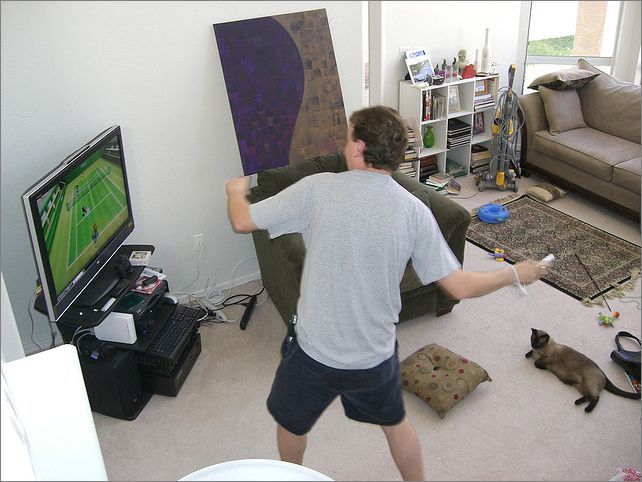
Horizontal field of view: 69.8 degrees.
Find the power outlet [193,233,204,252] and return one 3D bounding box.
[{"bbox_3d":[-0.962,0.011,3.601,0.089,0.138,0.090,-13,34,-28],"label":"power outlet"}]

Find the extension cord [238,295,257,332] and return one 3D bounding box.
[{"bbox_3d":[-0.563,0.570,3.529,0.049,0.066,0.251,26,40,-6],"label":"extension cord"}]

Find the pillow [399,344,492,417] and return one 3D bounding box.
[{"bbox_3d":[0.721,0.846,2.866,0.389,0.109,0.380,-32,40,-28],"label":"pillow"}]

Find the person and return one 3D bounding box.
[{"bbox_3d":[0.138,0.386,1.831,1.032,1.294,0.482,6,28,21],"label":"person"}]

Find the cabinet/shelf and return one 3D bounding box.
[{"bbox_3d":[1.366,-1.234,4.951,1.257,1.230,0.368,-19,30,-27],"label":"cabinet/shelf"}]

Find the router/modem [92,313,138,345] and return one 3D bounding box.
[{"bbox_3d":[-1.234,0.518,2.751,0.201,0.216,0.056,3,27,10],"label":"router/modem"}]

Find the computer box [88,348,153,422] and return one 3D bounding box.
[{"bbox_3d":[-1.264,0.849,2.793,0.281,0.476,0.236,2,27,14],"label":"computer box"}]

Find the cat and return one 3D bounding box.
[{"bbox_3d":[1.570,0.774,2.925,0.726,0.316,0.278,32,27,31],"label":"cat"}]

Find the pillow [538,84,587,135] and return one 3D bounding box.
[{"bbox_3d":[2.559,-1.373,5.019,0.497,0.525,0.149,-14,0,-29],"label":"pillow"}]

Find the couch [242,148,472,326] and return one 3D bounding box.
[{"bbox_3d":[0.151,0.235,3.595,1.335,1.118,1.333,-18,49,-20],"label":"couch"}]

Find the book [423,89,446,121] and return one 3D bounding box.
[{"bbox_3d":[1.233,-1.478,5.083,0.275,0.401,0.402,5,20,16],"label":"book"}]

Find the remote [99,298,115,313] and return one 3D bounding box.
[{"bbox_3d":[-1.208,0.371,2.599,0.024,0.009,0.087,11,37,8],"label":"remote"}]

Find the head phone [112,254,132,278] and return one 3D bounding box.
[{"bbox_3d":[-1.249,0.157,2.875,0.087,0.149,0.105,11,19,28],"label":"head phone"}]

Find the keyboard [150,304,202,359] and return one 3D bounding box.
[{"bbox_3d":[-0.940,0.592,2.936,0.214,0.109,0.425,13,40,2],"label":"keyboard"}]
